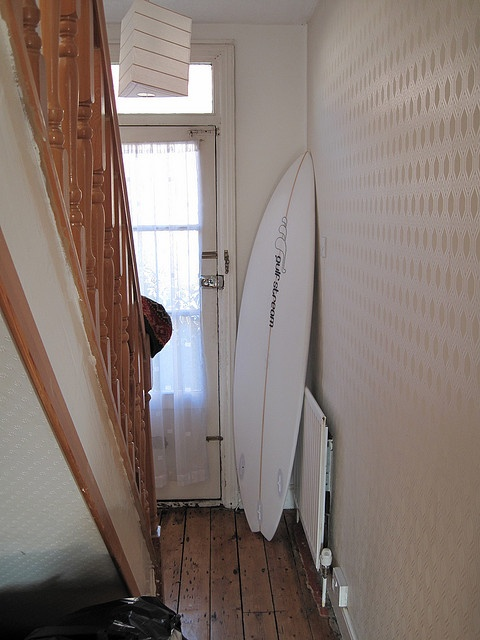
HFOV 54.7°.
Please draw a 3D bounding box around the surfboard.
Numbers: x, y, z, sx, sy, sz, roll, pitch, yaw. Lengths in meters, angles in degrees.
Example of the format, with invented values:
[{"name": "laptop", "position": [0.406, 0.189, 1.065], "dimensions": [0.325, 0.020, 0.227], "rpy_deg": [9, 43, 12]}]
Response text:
[{"name": "surfboard", "position": [0.212, 0.151, 2.578], "dimensions": [0.313, 2.110, 0.631], "rpy_deg": [-3, 5, -32]}]
